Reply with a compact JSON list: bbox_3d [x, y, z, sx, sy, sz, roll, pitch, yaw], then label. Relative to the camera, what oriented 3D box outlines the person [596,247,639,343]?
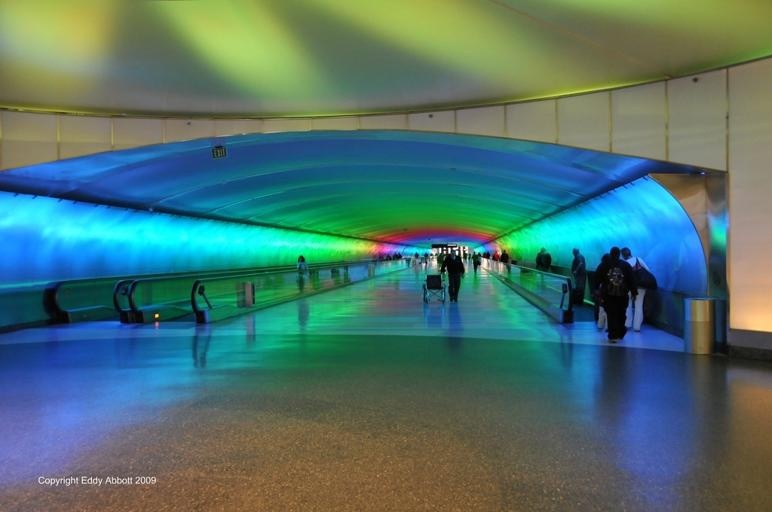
[{"bbox_3d":[5.353,0.901,11.349,0.795,2.152,0.599,1,5,22],"label":"person"}]

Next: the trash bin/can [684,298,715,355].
[{"bbox_3d":[6.568,1.475,10.205,0.551,1.091,0.473,1,5,19],"label":"trash bin/can"}]

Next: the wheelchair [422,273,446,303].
[{"bbox_3d":[1.962,1.382,19.722,0.997,1.113,1.413,-1,15,8],"label":"wheelchair"}]
